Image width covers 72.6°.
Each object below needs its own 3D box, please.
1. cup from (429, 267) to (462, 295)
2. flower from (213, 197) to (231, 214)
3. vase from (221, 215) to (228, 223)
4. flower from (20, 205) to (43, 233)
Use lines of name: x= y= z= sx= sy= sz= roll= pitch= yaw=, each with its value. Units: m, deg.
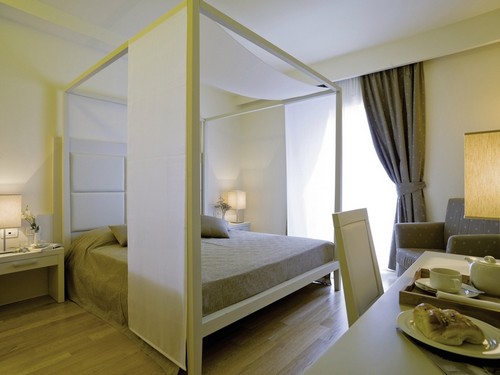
cup: x=1.071 y=0.512 z=1.864 sx=0.134 sy=0.114 sz=0.177 roll=2 pitch=4 yaw=-21
flower: x=-0.487 y=0.319 z=6.116 sx=0.268 sy=0.294 sz=0.281 roll=-3 pitch=-3 yaw=10
vase: x=-0.399 y=0.490 z=5.324 sx=0.076 sy=0.154 sz=0.266 roll=-8 pitch=-10 yaw=-4
flower: x=-2.459 y=0.358 z=3.813 sx=0.152 sy=0.296 sz=0.247 roll=-6 pitch=11 yaw=-39
